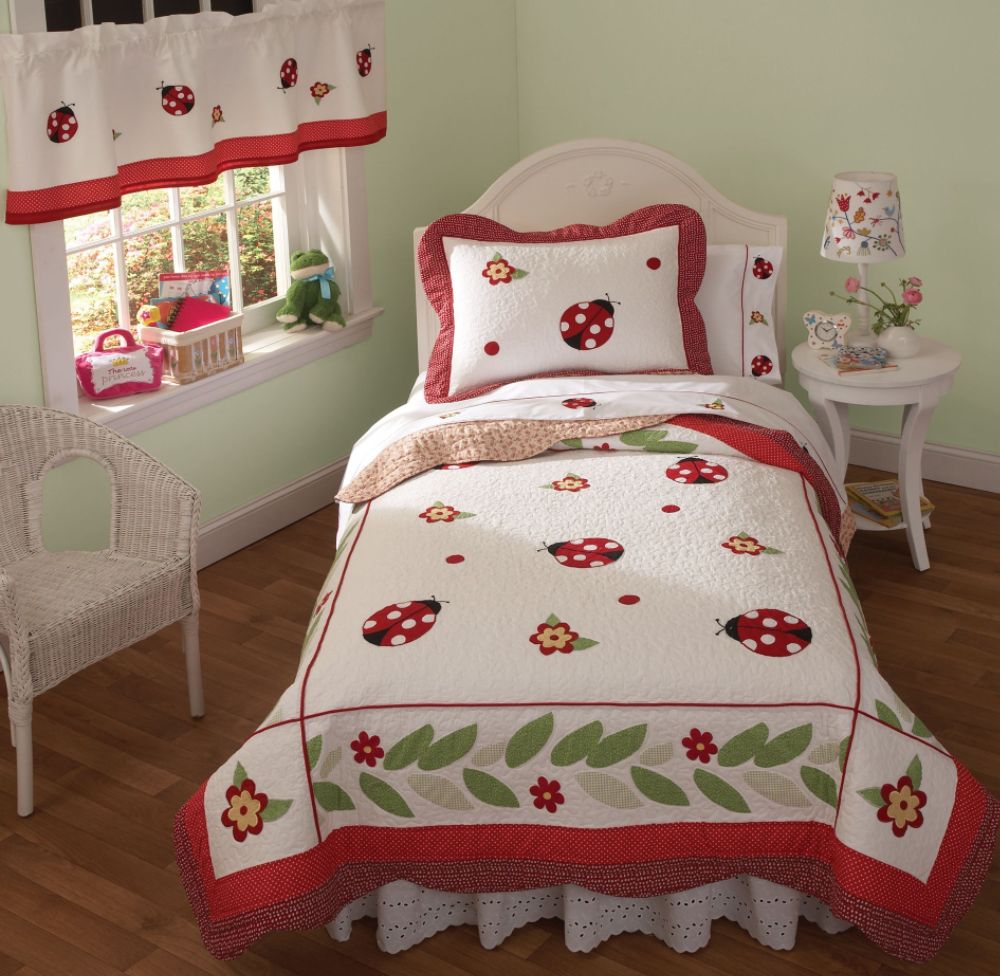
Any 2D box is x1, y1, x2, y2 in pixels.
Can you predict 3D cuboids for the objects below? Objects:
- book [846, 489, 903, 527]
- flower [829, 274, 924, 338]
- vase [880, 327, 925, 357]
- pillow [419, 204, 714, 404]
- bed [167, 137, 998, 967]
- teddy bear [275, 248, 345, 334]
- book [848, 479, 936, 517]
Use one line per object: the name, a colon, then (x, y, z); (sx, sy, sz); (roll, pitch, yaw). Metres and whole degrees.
book: (1.238, 0.052, 3.260); (0.180, 0.031, 0.147); (-8, 25, -7)
flower: (1.256, -0.601, 3.284); (0.374, 0.197, 0.327); (7, 9, 16)
vase: (1.229, -0.446, 3.046); (0.122, 0.069, 0.098); (-1, 26, 2)
pillow: (0.210, -0.526, 2.933); (0.991, 0.476, 0.156); (-2, -21, 1)
bed: (0.221, 0.071, 2.253); (1.445, 0.745, 1.589); (1, 34, 6)
teddy bear: (-0.668, -0.674, 3.418); (0.196, 0.267, 0.273); (33, 44, 32)
book: (1.244, 0.031, 3.284); (0.203, 0.035, 0.169); (-2, 18, 3)
